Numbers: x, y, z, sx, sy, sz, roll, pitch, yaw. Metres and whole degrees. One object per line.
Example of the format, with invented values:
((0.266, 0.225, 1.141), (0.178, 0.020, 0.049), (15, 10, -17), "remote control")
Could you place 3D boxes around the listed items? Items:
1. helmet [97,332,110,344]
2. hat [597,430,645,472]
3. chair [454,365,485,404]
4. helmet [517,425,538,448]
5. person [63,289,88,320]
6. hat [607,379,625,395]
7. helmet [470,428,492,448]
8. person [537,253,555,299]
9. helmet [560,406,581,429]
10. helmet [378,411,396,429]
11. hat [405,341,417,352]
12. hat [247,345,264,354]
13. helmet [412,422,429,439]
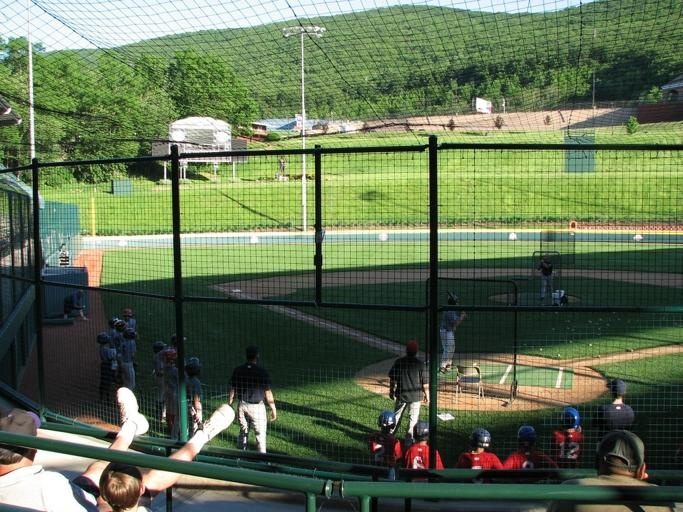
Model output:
((-5.318, 1.838, 20.669), (0.272, 0.162, 0.225), (3, 4, -7), "helmet")
((4.218, 2.959, 14.277), (0.780, 0.567, 1.191), (3, -16, 14), "hat")
((2.861, 2.835, 21.169), (0.583, 0.686, 0.532), (1, -3, 2), "chair")
((3.338, 3.293, 16.891), (0.303, 0.376, 0.196), (-2, 5, -4), "helmet")
((-7.744, 1.412, 26.901), (0.645, 0.813, 0.958), (-3, 5, -15), "person")
((5.307, 2.560, 18.077), (0.315, 0.330, 0.291), (-1, 5, 13), "hat")
((2.503, 3.291, 16.901), (0.354, 0.364, 0.436), (-1, 3, -21), "helmet")
((6.374, 0.659, 29.180), (0.400, 1.430, 1.051), (-1, 5, 12), "person")
((4.234, 3.012, 17.558), (0.428, 0.496, 0.542), (3, 6, 19), "helmet")
((0.834, 3.058, 17.474), (0.328, 0.285, 0.355), (-3, 10, 5), "helmet")
((1.387, 1.820, 18.591), (0.198, 0.237, 0.373), (-1, 5, 7), "hat")
((-1.704, 1.863, 18.138), (0.252, 0.063, 0.258), (-5, 10, -26), "hat")
((1.431, 3.201, 17.091), (0.364, 0.298, 0.258), (0, -6, -4), "helmet")
